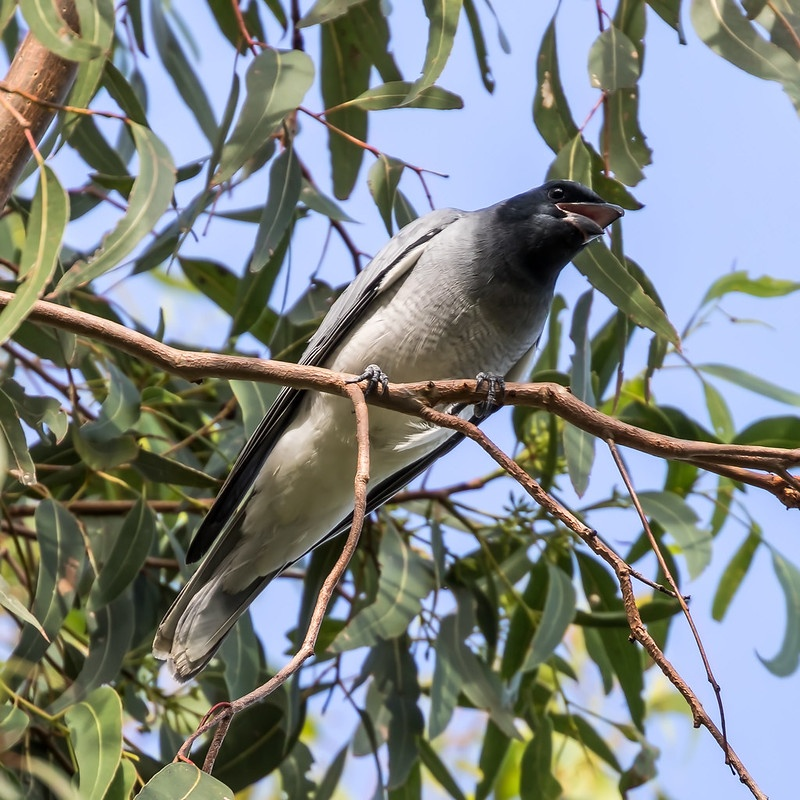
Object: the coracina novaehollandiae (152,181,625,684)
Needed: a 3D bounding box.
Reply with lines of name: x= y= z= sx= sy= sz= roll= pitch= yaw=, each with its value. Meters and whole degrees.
coracina novaehollandiae: x=-0.021 y=0.107 z=3.032 sx=0.383 sy=1.240 sz=0.489 roll=49 pitch=-1 yaw=-32
